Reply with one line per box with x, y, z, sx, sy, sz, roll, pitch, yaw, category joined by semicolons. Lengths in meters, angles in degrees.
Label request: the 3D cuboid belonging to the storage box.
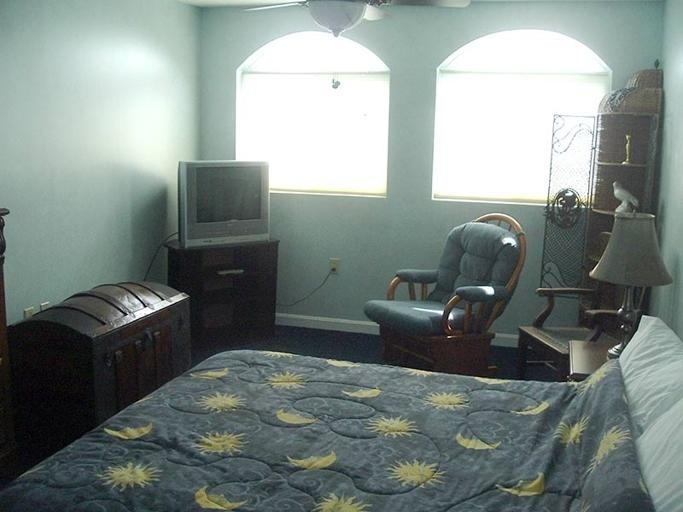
-1.457;0.396;3.307;0.739;0.783;1.187;6;15;20;storage box

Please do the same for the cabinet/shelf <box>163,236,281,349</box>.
-0.921;0.306;4.623;0.776;0.775;0.287;-3;8;-19;cabinet/shelf

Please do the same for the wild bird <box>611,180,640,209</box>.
1.927;-0.390;3.834;0.188;0.200;0.405;8;13;27;wild bird

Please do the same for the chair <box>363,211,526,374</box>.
0.745;0.288;4.069;0.989;1.155;1.088;6;9;31;chair

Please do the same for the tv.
-0.996;-0.439;4.594;0.759;0.670;0.362;-7;17;-37;tv

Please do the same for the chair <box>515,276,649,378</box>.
1.560;0.449;4.028;0.681;0.890;0.697;-4;-8;29;chair
